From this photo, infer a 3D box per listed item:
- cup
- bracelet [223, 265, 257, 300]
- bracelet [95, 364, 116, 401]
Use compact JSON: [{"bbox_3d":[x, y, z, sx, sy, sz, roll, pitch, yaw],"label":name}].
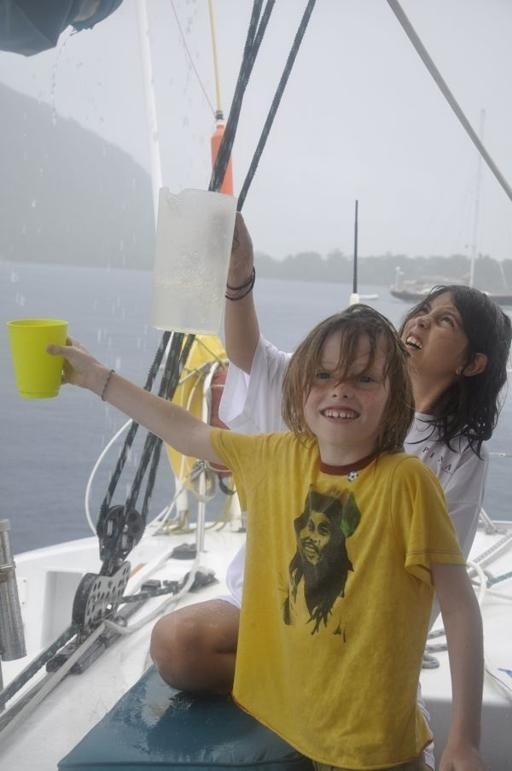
[{"bbox_3d":[-0.344,-0.053,1.124,0.114,0.135,0.119,2,9,0],"label":"cup"},{"bbox_3d":[-0.035,-0.198,1.358,0.047,0.066,0.036,1,1,4],"label":"bracelet"},{"bbox_3d":[-0.259,-0.005,1.218,0.011,0.046,0.046,19,2,1],"label":"bracelet"}]
